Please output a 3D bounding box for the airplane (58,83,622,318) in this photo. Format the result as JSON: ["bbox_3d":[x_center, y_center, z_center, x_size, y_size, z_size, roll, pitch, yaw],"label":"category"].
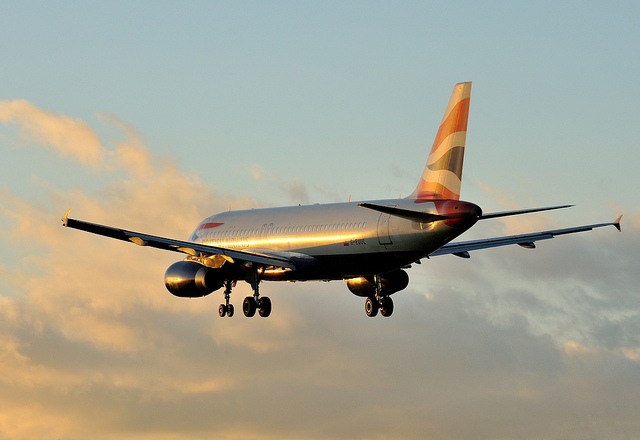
[{"bbox_3d":[0.426,-1.157,40.790,12.196,9.369,7.855,8,27,10],"label":"airplane"}]
